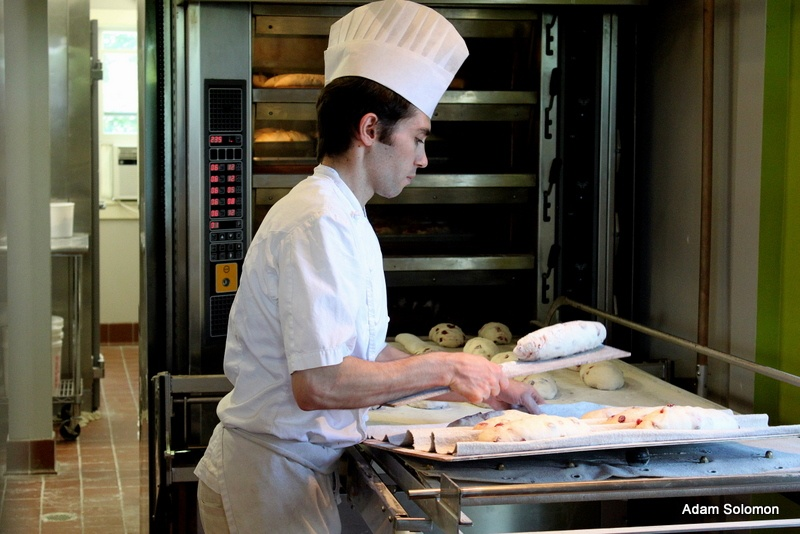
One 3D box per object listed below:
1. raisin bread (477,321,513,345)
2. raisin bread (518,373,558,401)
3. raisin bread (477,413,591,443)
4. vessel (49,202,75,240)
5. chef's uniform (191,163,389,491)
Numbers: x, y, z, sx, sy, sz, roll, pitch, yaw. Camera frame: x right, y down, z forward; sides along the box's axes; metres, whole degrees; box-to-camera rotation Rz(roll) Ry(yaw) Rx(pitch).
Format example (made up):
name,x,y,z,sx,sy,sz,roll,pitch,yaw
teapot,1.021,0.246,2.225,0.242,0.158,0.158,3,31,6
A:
name,x,y,z,sx,sy,sz,roll,pitch,yaw
raisin bread,0.410,0.286,3.459,0.091,0.056,0.115,7,-8,-24
raisin bread,0.515,0.422,2.875,0.078,0.057,0.143,17,10,25
raisin bread,0.355,0.442,2.195,0.192,0.043,0.121,0,-8,-10
vessel,-1.286,-0.177,3.017,0.116,0.103,0.125,-1,-4,0
chef's uniform,-0.256,0.174,2.626,0.659,1.093,0.933,4,5,-8
